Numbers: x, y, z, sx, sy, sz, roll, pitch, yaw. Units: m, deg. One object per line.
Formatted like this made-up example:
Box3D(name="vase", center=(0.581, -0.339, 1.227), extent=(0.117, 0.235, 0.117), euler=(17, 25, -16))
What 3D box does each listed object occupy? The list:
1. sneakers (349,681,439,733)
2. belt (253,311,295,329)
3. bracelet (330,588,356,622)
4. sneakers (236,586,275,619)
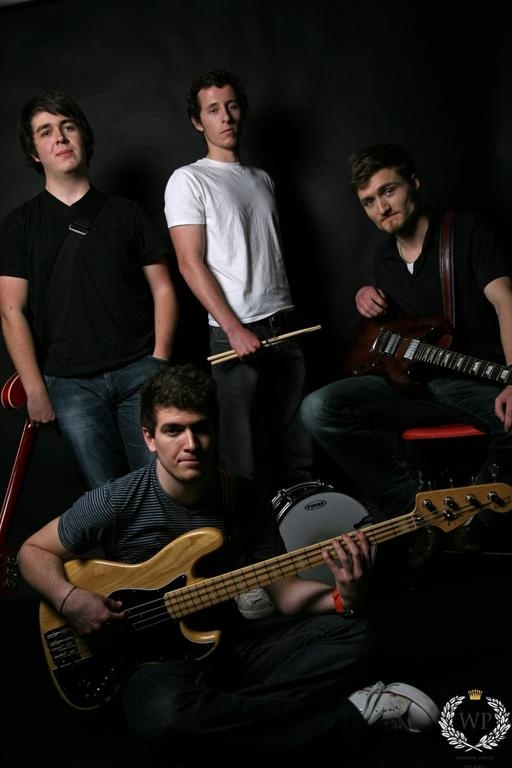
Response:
Box3D(name="sneakers", center=(0.389, 0.895, 1.898), extent=(0.215, 0.131, 0.073), euler=(0, -25, -19))
Box3D(name="belt", center=(0.067, -0.230, 2.414), extent=(0.108, 0.031, 0.076), euler=(-13, -33, 4))
Box3D(name="bracelet", center=(0.244, 0.605, 1.897), extent=(0.067, 0.088, 0.027), euler=(-3, 41, 34))
Box3D(name="sneakers", center=(0.000, 0.654, 2.050), extent=(0.129, 0.067, 0.048), euler=(-5, -29, 44))
